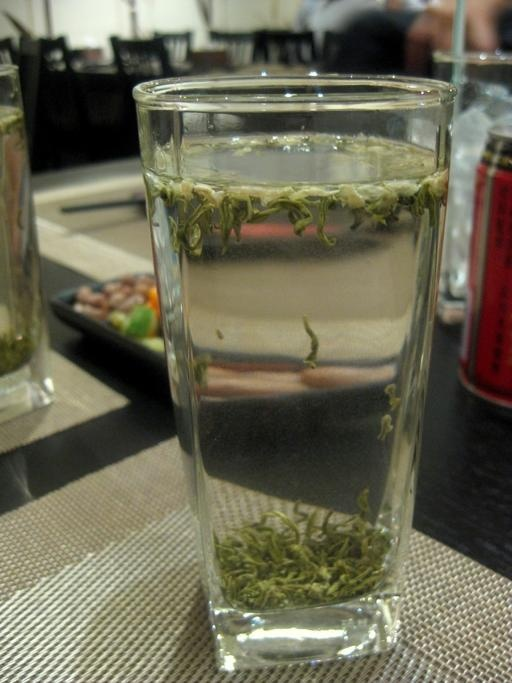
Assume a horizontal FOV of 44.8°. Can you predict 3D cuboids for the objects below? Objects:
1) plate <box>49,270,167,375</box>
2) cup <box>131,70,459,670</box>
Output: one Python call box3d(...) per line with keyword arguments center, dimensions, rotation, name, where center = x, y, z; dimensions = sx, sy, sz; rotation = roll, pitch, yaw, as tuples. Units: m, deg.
box3d(center=(-0.103, -0.006, 0.423), dimensions=(0.085, 0.014, 0.059), rotation=(33, 19, 30), name="plate")
box3d(center=(0.015, 0.013, 0.202), dimensions=(0.087, 0.183, 0.070), rotation=(-6, 25, -10), name="cup")
